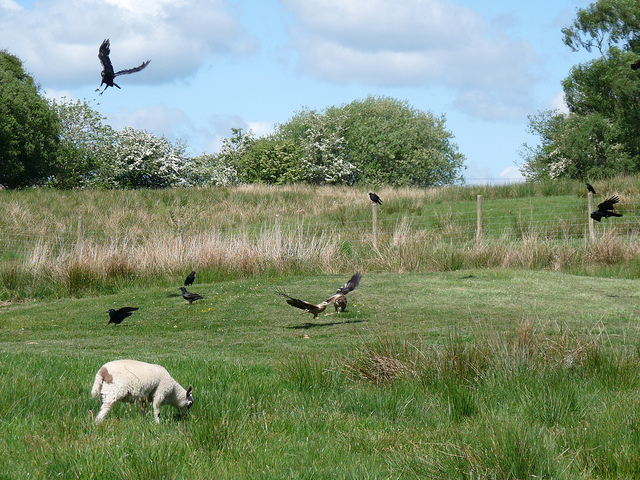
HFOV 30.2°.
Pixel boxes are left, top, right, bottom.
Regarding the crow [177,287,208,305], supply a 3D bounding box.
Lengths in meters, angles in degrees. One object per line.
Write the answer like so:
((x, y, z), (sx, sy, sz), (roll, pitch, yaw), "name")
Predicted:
((-3.277, 1.437, 30.444), (0.739, 0.505, 0.259), (0, 4, -11), "crow")

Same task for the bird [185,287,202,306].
((-3.352, 1.476, 30.660), (0.593, 0.427, 0.239), (-4, -1, 32), "bird")

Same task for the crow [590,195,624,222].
((7.952, -0.872, 32.980), (0.646, 0.666, 1.742), (1, -3, 10), "crow")

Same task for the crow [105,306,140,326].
((-4.938, 1.863, 29.528), (0.629, 0.245, 0.416), (-23, -8, 29), "crow")

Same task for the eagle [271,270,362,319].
((-0.032, 1.414, 29.212), (2.421, 1.175, 0.982), (-12, 21, -30), "eagle")

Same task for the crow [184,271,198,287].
((-3.527, 1.064, 32.171), (0.267, 0.405, 0.721), (2, -2, -7), "crow")

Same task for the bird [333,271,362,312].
((0.673, 1.269, 29.514), (0.798, 0.478, 0.898), (-6, 28, -4), "bird")
